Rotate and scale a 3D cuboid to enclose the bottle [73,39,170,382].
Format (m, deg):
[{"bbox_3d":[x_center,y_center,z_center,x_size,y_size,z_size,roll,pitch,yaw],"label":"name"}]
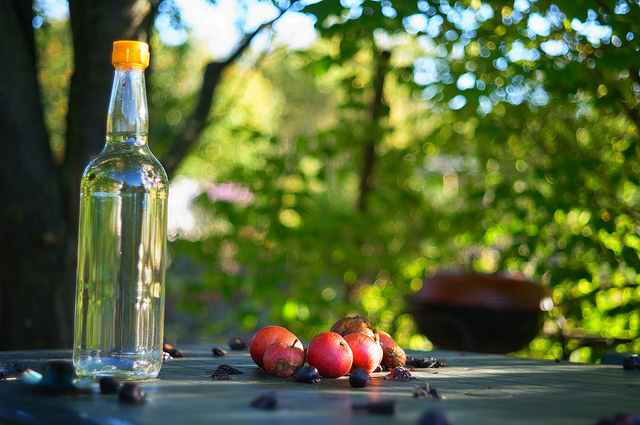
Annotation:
[{"bbox_3d":[-0.593,-0.012,2.042,0.265,1.022,0.265,3,3,0],"label":"bottle"}]

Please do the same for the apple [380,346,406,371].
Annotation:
[{"bbox_3d":[0.249,0.489,2.281,0.081,0.083,0.047,-17,15,2],"label":"apple"}]

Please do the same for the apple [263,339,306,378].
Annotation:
[{"bbox_3d":[-0.099,0.479,2.176,0.136,0.122,0.137,-9,8,-20],"label":"apple"}]

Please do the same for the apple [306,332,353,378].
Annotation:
[{"bbox_3d":[0.032,0.449,2.141,0.145,0.137,0.086,3,2,0],"label":"apple"}]

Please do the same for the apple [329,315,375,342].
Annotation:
[{"bbox_3d":[0.100,0.400,2.347,0.127,0.076,0.152,23,-17,-25],"label":"apple"}]
